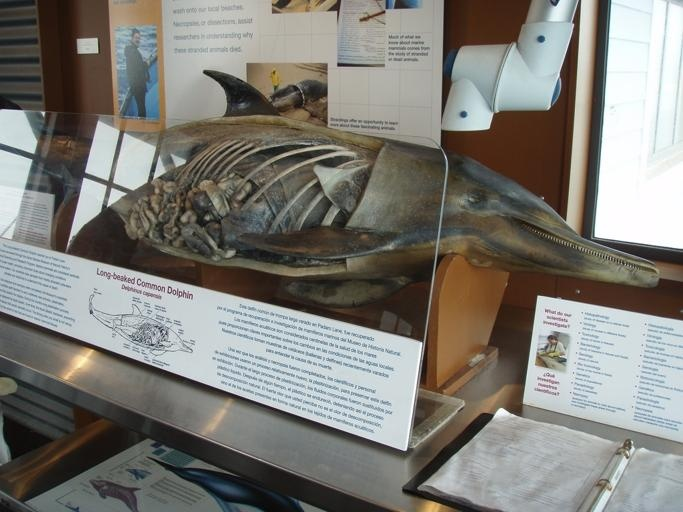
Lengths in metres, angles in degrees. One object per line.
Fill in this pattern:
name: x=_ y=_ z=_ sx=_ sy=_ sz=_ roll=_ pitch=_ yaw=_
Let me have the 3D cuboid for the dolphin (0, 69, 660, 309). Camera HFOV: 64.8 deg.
dolphin: x=-0.202 y=-0.142 z=1.320 sx=1.578 sy=0.513 sz=0.469 roll=7 pitch=10 yaw=11
